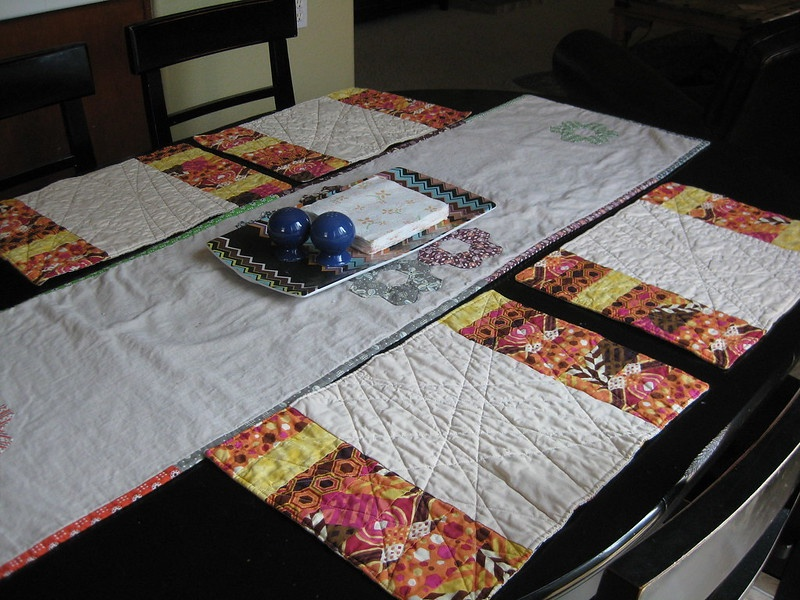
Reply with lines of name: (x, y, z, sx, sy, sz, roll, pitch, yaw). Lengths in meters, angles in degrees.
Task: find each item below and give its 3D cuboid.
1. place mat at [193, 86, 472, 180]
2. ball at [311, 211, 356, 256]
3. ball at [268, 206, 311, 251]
place mat: (-0.169, -0.467, 1.630, 0.701, 0.034, 0.437, -11, -2, 35)
ball: (-0.139, -0.145, 1.121, 0.098, 0.085, 0.080, 2, 60, -11)
ball: (-0.205, -0.140, 1.130, 0.093, 0.073, 0.083, -3, 27, -10)
